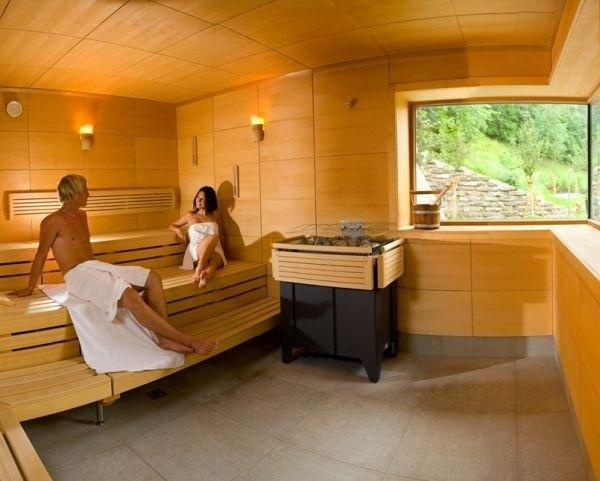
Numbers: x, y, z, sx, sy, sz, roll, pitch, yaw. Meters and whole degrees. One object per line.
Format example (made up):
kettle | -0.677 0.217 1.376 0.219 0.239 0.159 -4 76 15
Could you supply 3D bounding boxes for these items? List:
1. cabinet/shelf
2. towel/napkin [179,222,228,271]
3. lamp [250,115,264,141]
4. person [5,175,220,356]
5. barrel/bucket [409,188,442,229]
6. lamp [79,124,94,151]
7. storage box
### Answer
cabinet/shelf | 0.400 0.651 4.259 1.135 0.885 0.800 -1 0 27
towel/napkin | -1.001 0.007 5.253 0.487 0.680 0.694 0 1 38
lamp | -0.475 -1.244 4.967 0.101 0.287 0.121 10 20 42
person | -1.403 0.134 3.518 1.978 1.057 0.768 17 17 28
barrel/bucket | 1.254 -0.320 4.447 0.278 0.356 0.388 1 14 14
lamp | -2.550 -1.235 5.347 0.180 0.308 0.130 -10 16 -27
storage box | 0.238 0.247 4.317 1.169 0.357 1.176 2 -3 17
